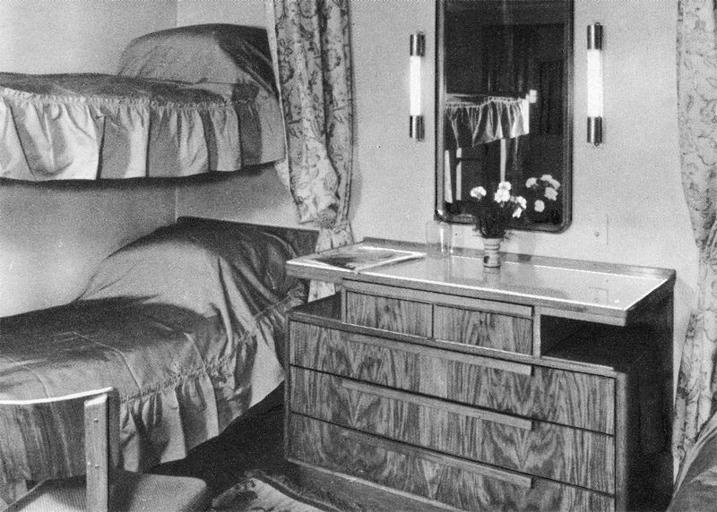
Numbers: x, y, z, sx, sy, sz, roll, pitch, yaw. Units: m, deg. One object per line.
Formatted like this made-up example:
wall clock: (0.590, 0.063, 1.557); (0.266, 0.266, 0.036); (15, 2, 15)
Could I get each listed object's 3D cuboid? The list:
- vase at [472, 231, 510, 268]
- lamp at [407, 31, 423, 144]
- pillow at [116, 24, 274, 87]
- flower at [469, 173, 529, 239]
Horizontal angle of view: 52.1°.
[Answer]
vase: (0.664, -0.034, 3.684); (0.168, 0.167, 0.172); (2, 5, 14)
lamp: (0.315, -0.901, 3.924); (0.081, 0.570, 0.076); (0, 11, 2)
pillow: (-0.840, -1.026, 3.957); (0.372, 0.151, 0.542); (7, 10, 30)
flower: (0.680, -0.226, 3.689); (0.300, 0.281, 0.294); (4, 12, 19)
